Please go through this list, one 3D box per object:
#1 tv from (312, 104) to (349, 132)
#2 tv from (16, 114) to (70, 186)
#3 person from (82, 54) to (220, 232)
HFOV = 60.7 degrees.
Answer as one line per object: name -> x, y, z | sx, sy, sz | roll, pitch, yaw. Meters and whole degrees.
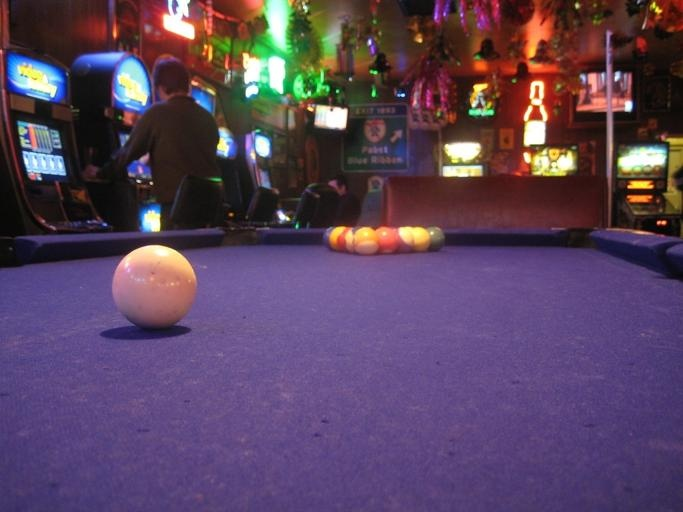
tv -> -0.208, -2.576, 10.815 | 0.692, 0.556, 0.397 | 1, 0, -6
tv -> -2.096, -0.743, 4.100 | 0.175, 0.406, 0.219 | 8, 11, 31
person -> -1.304, -0.825, 4.293 | 0.815, 1.223, 0.552 | -4, 10, -20
